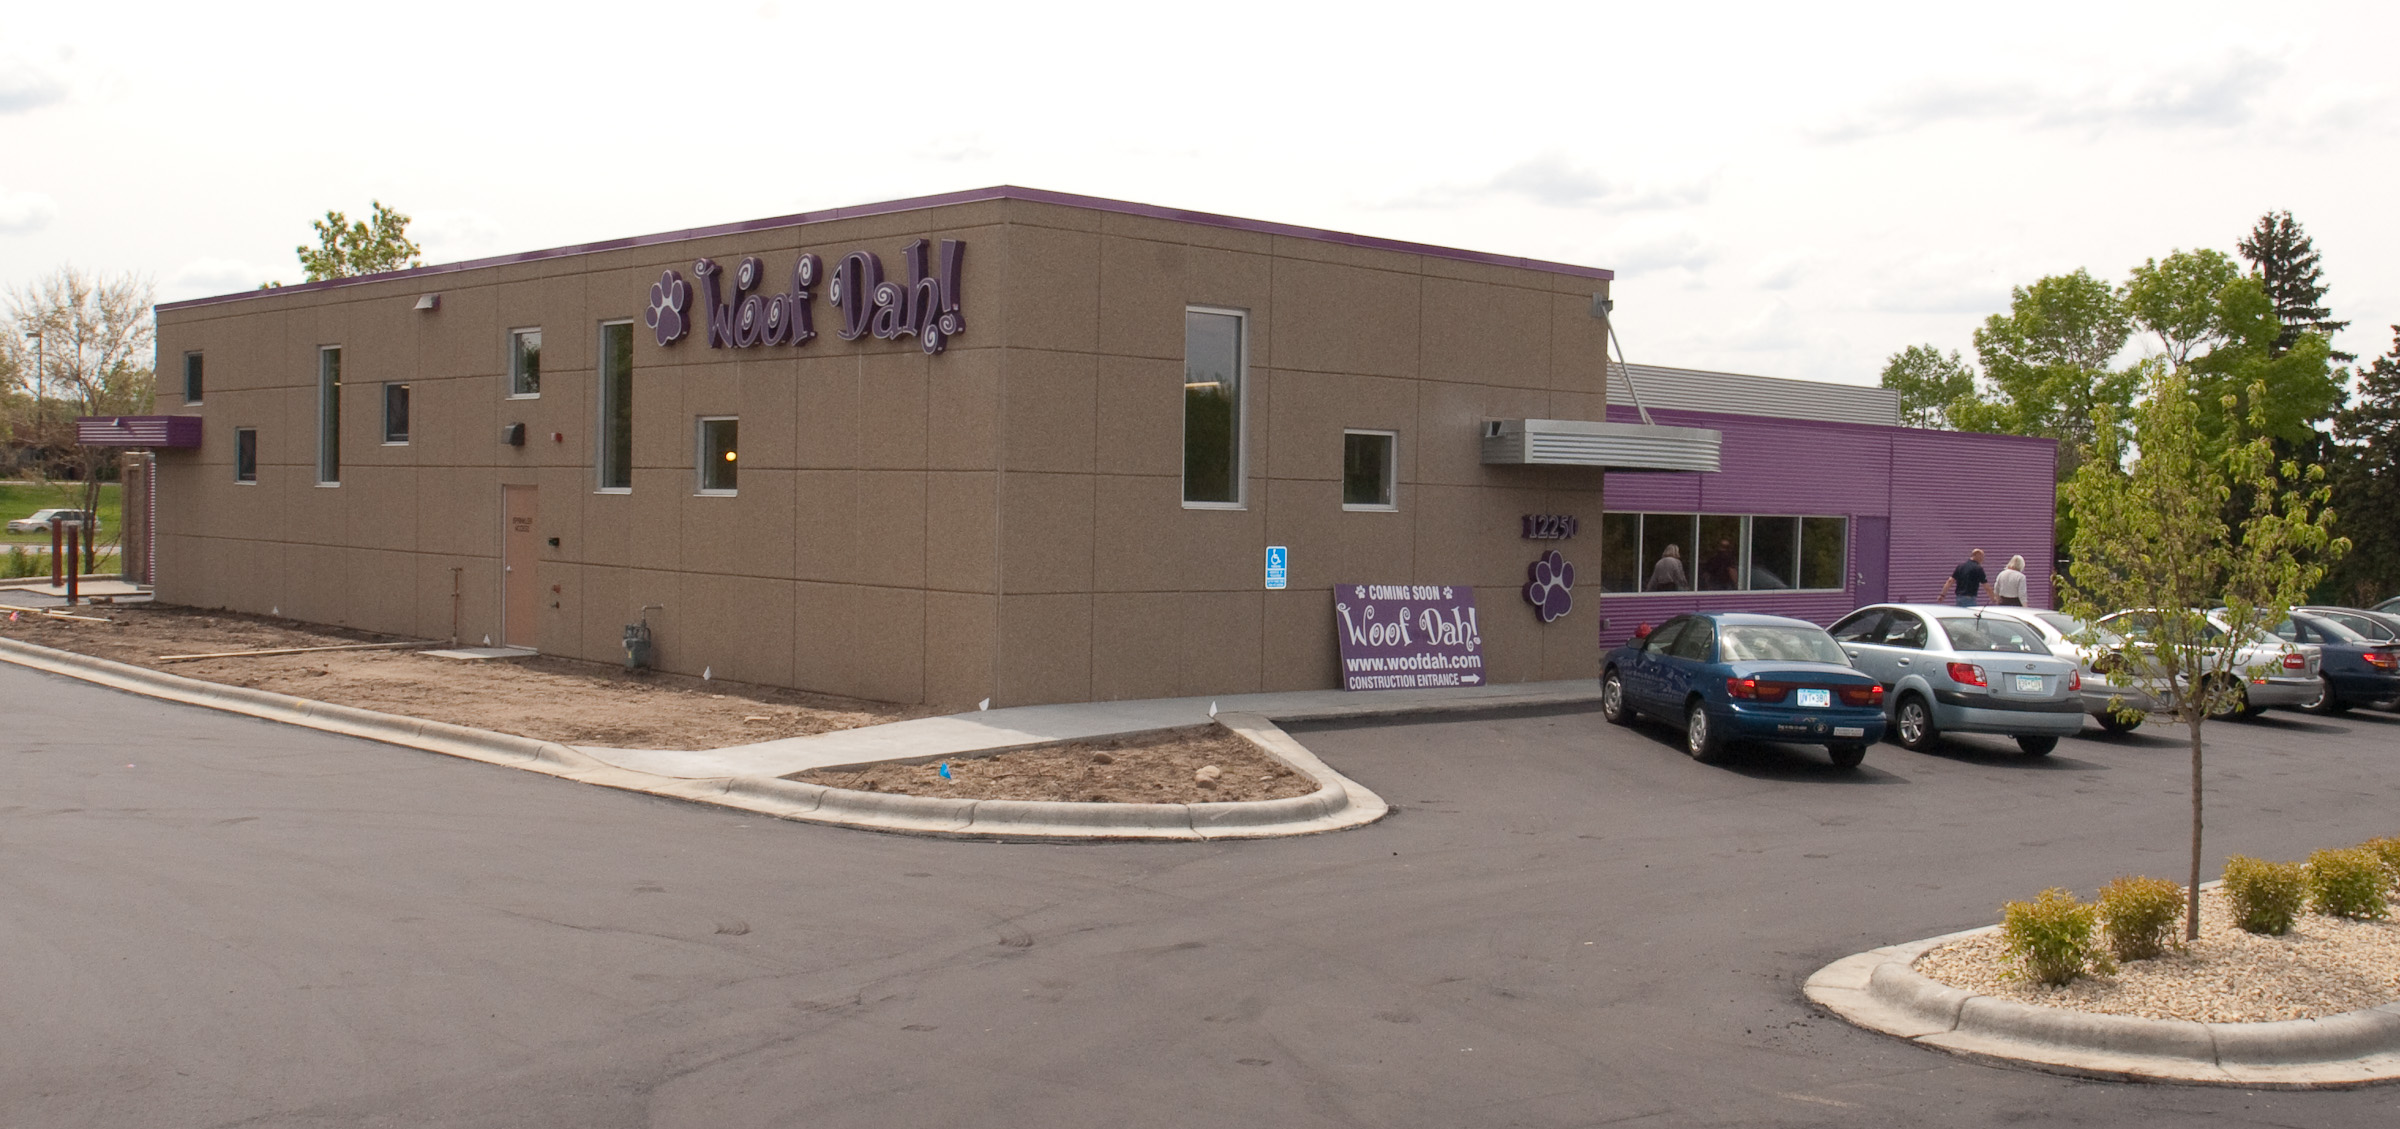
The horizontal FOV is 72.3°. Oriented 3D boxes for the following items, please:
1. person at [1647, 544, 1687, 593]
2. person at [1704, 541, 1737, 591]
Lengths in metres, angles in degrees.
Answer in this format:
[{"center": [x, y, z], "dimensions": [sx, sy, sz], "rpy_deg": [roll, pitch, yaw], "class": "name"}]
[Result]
[{"center": [11.395, 0.126, 40.090], "dimensions": [0.785, 1.065, 0.499], "rpy_deg": [-5, 15, -25], "class": "person"}, {"center": [13.110, 0.003, 41.318], "dimensions": [1.499, 1.276, 0.435], "rpy_deg": [-8, 17, -37], "class": "person"}]
